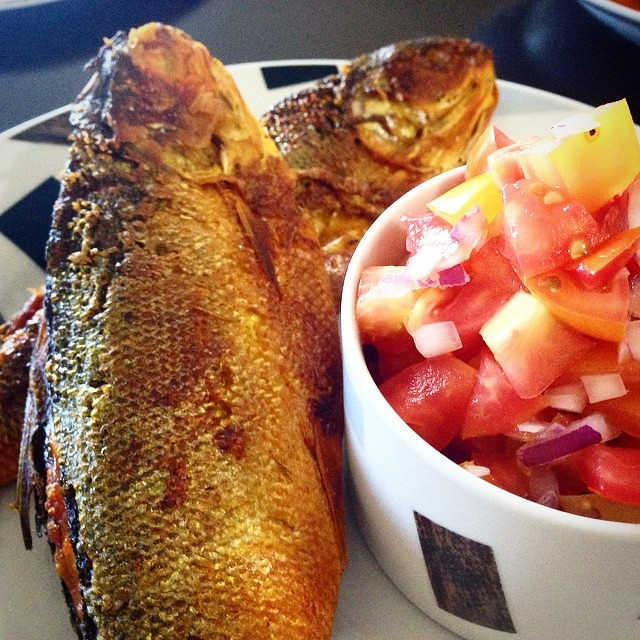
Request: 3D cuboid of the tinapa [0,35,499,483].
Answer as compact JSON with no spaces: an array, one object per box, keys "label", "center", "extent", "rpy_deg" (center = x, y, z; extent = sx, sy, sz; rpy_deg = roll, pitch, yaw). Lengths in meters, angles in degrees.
[{"label":"tinapa","center":[-0.057,-0.052,0.901],"extent":[0.633,0.188,0.250],"rpy_deg":[-34,65,2]}]
